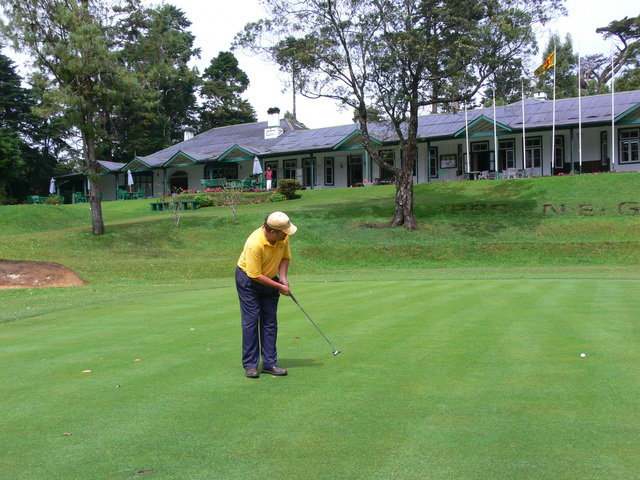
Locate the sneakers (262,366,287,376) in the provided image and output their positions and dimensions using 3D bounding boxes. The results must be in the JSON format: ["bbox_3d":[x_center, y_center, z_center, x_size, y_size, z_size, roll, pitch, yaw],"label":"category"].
[{"bbox_3d":[-0.543,1.561,7.194,0.262,0.091,0.105,0,-1,15],"label":"sneakers"}]

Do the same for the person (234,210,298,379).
[{"bbox_3d":[-0.638,0.629,7.320,0.738,1.930,0.743,-2,6,-6],"label":"person"}]

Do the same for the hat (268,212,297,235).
[{"bbox_3d":[-0.445,-0.185,7.081,0.363,0.166,0.211,18,44,-6],"label":"hat"}]

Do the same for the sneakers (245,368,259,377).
[{"bbox_3d":[-0.793,1.571,7.088,0.168,0.093,0.159,-2,6,-7],"label":"sneakers"}]
